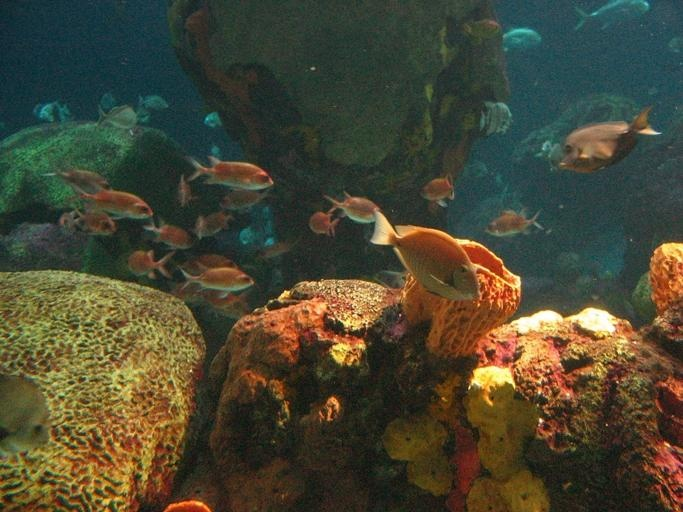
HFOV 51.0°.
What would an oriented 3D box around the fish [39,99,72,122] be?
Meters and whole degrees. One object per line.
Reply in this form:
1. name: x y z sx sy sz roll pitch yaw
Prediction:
1. fish: -8.746 -4.327 21.570 1.029 0.555 0.352 -10 48 -9
